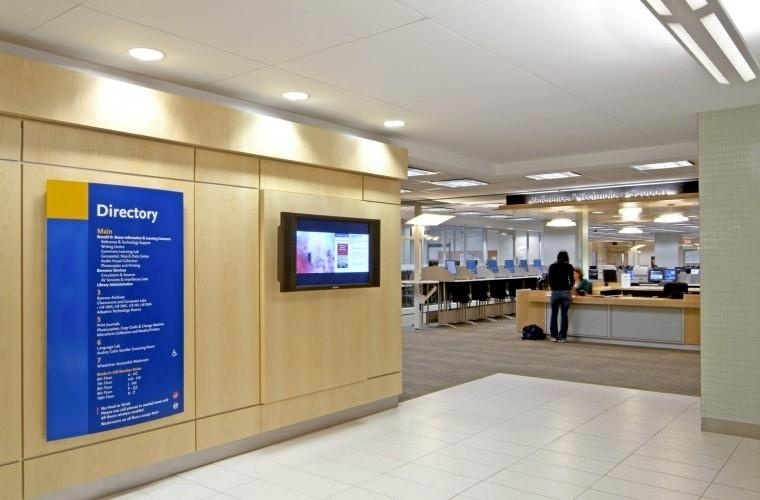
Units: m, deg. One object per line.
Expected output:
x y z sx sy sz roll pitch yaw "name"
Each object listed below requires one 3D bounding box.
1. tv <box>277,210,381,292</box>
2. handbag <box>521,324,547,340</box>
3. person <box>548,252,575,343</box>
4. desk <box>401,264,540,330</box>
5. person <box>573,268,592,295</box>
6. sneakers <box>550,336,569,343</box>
-0.636 0.010 5.737 1.109 0.582 0.148 3 -3 -42 "tv"
3.482 1.883 11.497 0.349 0.199 0.444 1 1 -19 "handbag"
4.032 1.004 11.137 0.501 1.999 0.378 1 3 19 "person"
2.205 1.284 14.971 5.022 1.703 2.027 -2 3 -43 "desk"
4.888 0.752 12.131 0.311 0.754 0.331 6 -30 -12 "person"
4.000 1.996 11.137 0.134 0.141 0.356 6 -9 -39 "sneakers"
